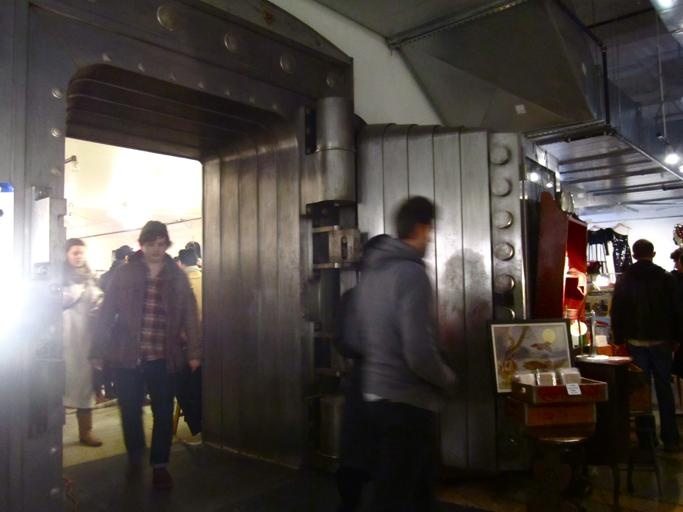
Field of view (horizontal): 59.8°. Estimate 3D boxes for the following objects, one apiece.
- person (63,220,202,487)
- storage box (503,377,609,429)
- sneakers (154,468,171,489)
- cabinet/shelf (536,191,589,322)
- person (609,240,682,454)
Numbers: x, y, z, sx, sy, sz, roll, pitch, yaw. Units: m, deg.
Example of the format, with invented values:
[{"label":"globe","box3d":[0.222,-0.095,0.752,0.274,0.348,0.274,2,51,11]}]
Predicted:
[{"label":"person","box3d":[-1.484,0.669,4.529,0.804,1.832,0.342,-3,9,-25]},{"label":"storage box","box3d":[1.418,0.979,3.951,0.434,0.214,0.353,1,-1,-14]},{"label":"sneakers","box3d":[-1.368,1.680,4.515,0.157,0.141,0.117,1,9,-4]},{"label":"cabinet/shelf","box3d":[1.917,0.063,5.165,0.406,1.219,1.102,4,9,23]},{"label":"person","box3d":[2.925,0.790,5.651,0.505,1.823,0.852,-3,9,-24]}]
